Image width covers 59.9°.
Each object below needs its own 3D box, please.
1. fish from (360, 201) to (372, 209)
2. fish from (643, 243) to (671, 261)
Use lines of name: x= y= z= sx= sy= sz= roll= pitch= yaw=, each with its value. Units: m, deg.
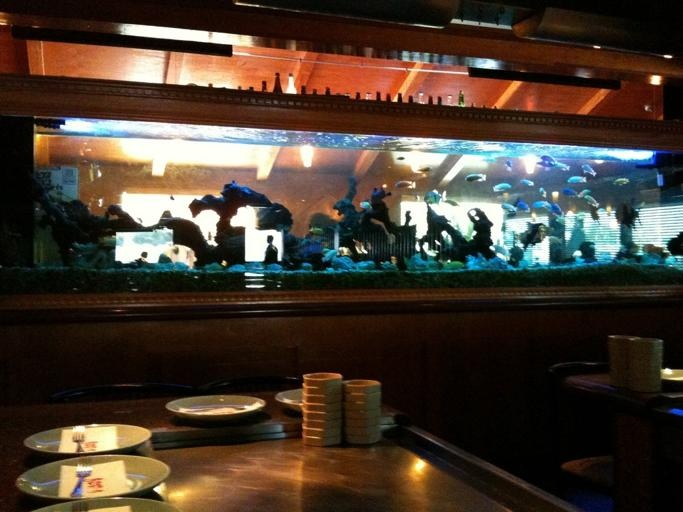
fish: x=0.161 y=-0.350 z=4.041 sx=0.083 sy=0.032 sz=0.084 roll=0 pitch=2 yaw=1
fish: x=2.399 y=-0.032 z=4.516 sx=0.219 sy=0.115 sz=0.040 roll=1 pitch=7 yaw=-13
